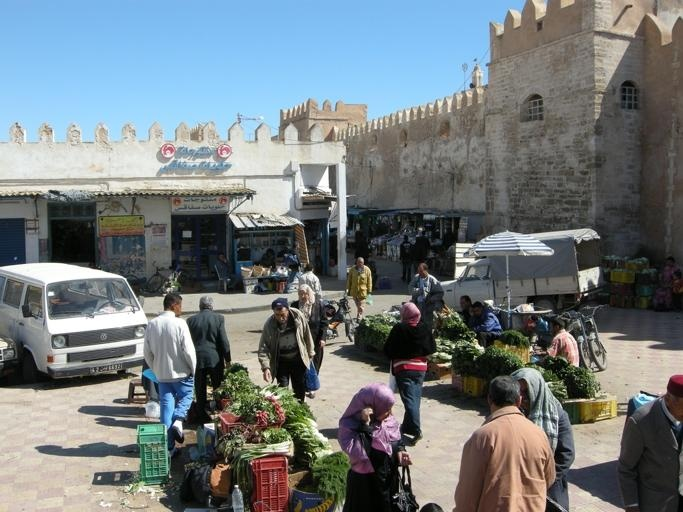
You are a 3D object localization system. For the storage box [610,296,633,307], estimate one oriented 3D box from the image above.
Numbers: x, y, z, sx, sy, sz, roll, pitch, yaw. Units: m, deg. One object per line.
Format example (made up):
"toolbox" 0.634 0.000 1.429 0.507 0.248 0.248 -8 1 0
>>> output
"storage box" 8.130 1.329 22.228 0.172 0.326 0.735 -2 1 -35

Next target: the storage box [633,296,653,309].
"storage box" 8.608 1.319 21.782 0.428 0.345 0.181 -2 1 19

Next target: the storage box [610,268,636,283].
"storage box" 8.147 0.599 22.222 0.201 0.408 0.850 -2 1 -28

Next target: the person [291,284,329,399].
"person" -0.582 1.519 13.417 0.755 1.992 0.545 5 11 18

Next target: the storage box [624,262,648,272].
"storage box" 8.554 0.271 22.082 0.340 0.232 0.344 -3 2 -32

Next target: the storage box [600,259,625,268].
"storage box" 8.130 0.204 22.861 0.418 0.204 0.570 0 1 6

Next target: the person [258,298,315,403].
"person" -0.853 1.449 11.921 0.777 1.724 0.757 -2 3 -26

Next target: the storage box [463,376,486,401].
"storage box" 2.281 2.257 13.281 0.322 0.483 0.445 -3 1 -25

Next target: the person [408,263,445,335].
"person" 1.740 1.010 16.003 0.625 1.810 0.523 11 27 23

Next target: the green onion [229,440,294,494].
"green onion" -0.995 2.617 9.998 0.832 0.576 0.856 -4 5 -18

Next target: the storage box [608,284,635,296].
"storage box" 8.145 0.972 22.249 0.200 0.376 0.798 -2 1 -31

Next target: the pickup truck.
"pickup truck" 4.416 0.865 20.352 4.449 1.681 2.052 -1 5 21

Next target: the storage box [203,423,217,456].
"storage box" -1.818 2.556 10.534 0.140 0.434 0.387 2 -2 -18

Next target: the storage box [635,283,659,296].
"storage box" 8.611 0.997 21.832 0.347 0.240 0.353 -4 7 -23

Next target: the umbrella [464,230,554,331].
"umbrella" 3.551 0.611 16.471 1.986 2.426 2.094 -1 7 9

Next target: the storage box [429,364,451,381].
"storage box" 1.835 2.191 14.437 0.285 0.199 0.303 -1 -1 -12

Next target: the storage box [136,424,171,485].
"storage box" -2.573 2.737 10.458 0.378 0.724 0.308 -2 1 -15

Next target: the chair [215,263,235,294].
"chair" -3.822 0.684 25.042 0.535 0.818 0.915 -2 1 -15

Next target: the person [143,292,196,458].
"person" -2.515 1.705 11.311 0.727 2.027 0.982 0 0 -19

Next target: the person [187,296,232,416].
"person" -2.106 1.629 12.088 0.619 2.006 0.562 1 0 -1

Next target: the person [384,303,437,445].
"person" 1.073 1.751 11.631 0.619 2.080 0.805 0 0 13

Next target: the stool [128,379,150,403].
"stool" -3.579 2.391 13.355 0.423 0.455 0.445 -1 2 -12

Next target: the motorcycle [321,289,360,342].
"motorcycle" -0.008 1.445 17.803 0.614 0.837 1.283 -6 -5 4

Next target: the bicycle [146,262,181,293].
"bicycle" -6.168 0.710 24.833 1.289 0.869 0.616 5 -4 36
